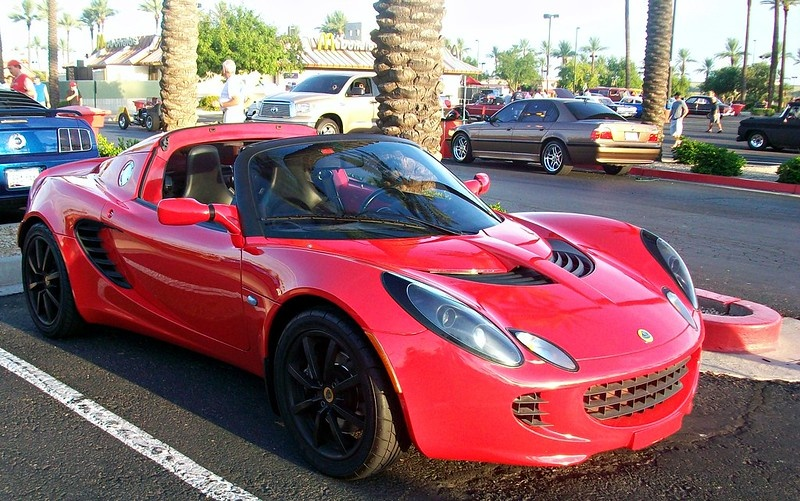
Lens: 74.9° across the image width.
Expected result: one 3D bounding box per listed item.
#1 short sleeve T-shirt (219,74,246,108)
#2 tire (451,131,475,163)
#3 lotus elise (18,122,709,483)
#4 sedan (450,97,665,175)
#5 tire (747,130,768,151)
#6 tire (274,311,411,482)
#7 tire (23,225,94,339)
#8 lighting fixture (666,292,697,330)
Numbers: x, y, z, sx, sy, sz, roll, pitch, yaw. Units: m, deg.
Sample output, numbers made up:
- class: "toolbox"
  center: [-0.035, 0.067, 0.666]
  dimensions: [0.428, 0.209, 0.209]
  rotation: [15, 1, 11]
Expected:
- class: "short sleeve T-shirt"
  center: [-3.577, -3.409, 11.150]
  dimensions: [0.530, 0.693, 0.370]
  rotation: [-4, 14, -13]
- class: "tire"
  center: [2.090, -3.462, 17.285]
  dimensions: [0.332, 0.860, 0.857]
  rotation: [1, 19, -37]
- class: "lotus elise"
  center: [-0.693, 0.137, 4.095]
  dimensions: [4.970, 1.590, 2.516]
  rotation: [13, 18, 36]
- class: "sedan"
  center: [4.407, -3.506, 16.065]
  dimensions: [2.559, 1.740, 5.263]
  rotation: [-10, 18, -42]
- class: "tire"
  center: [15.748, -4.890, 23.060]
  dimensions: [0.318, 0.875, 0.890]
  rotation: [2, -6, -31]
- class: "tire"
  center: [-0.400, 0.862, 3.121]
  dimensions: [0.905, 1.004, 0.211]
  rotation: [12, 19, 41]
- class: "tire"
  center: [-3.078, 0.285, 4.759]
  dimensions: [0.815, 0.900, 0.288]
  rotation: [26, 19, 37]
- class: "lighting fixture"
  center: [1.815, 0.395, 3.403]
  dimensions: [0.089, 0.024, 0.288]
  rotation: [2, 32, -10]
